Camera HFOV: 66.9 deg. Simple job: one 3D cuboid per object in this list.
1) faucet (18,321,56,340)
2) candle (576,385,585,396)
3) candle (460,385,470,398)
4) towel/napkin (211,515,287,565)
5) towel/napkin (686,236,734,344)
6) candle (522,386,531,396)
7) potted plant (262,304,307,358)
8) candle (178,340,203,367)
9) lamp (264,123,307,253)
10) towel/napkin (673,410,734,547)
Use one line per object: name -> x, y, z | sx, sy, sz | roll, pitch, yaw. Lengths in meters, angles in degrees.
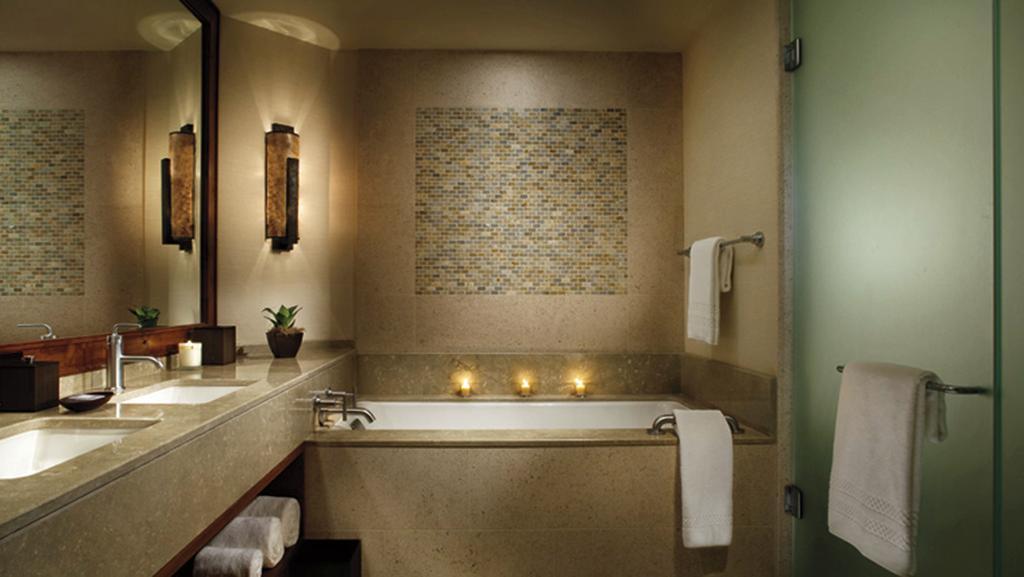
faucet -> -2.474, 0.210, 4.062 | 0.173, 0.088, 0.048 | 19, 20, -35
candle -> 0.477, 0.700, 5.339 | 0.071, 0.076, 0.069 | 4, -6, -24
candle -> -0.321, 0.706, 5.350 | 0.078, 0.080, 0.076 | 2, -3, -9
towel/napkin -> -1.422, 1.317, 4.143 | 0.303, 0.205, 0.282 | 0, -1, 6
towel/napkin -> 1.237, 0.005, 4.808 | 0.248, 0.645, 0.346 | 0, 3, 1
candle -> 0.104, 0.704, 5.342 | 0.067, 0.068, 0.065 | 1, -5, -5
potted plant -> -1.515, 0.278, 5.151 | 0.267, 0.332, 0.313 | 0, 3, -16
candle -> -1.948, 0.388, 4.700 | 0.151, 0.160, 0.148 | 0, 3, -35
lamp -> -1.551, -0.684, 5.234 | 0.221, 0.865, 0.094 | -1, 3, -17
towel/napkin -> 1.091, 1.073, 4.398 | 0.269, 0.619, 0.581 | -2, -26, 8
